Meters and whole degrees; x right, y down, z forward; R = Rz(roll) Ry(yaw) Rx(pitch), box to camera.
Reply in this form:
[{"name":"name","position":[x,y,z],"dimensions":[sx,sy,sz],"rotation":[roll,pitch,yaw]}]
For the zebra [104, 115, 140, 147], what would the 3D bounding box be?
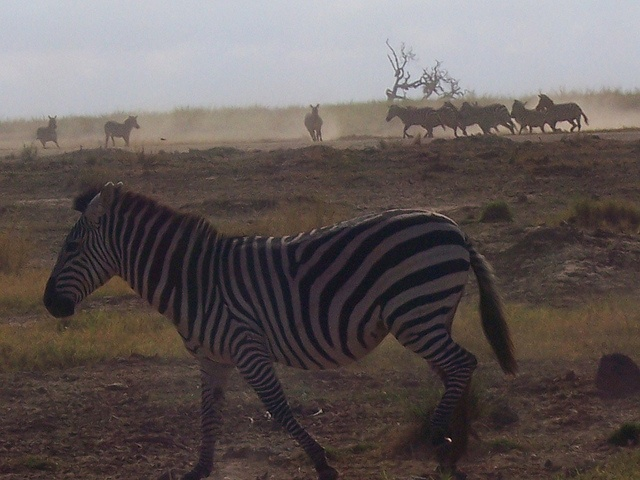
[{"name":"zebra","position":[-6.172,-3.460,36.367],"dimensions":[0.957,0.979,2.435],"rotation":[1,2,-10]}]
